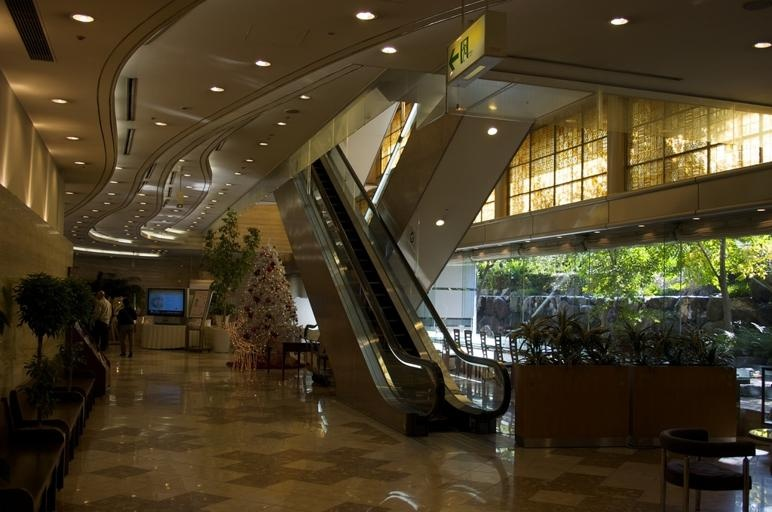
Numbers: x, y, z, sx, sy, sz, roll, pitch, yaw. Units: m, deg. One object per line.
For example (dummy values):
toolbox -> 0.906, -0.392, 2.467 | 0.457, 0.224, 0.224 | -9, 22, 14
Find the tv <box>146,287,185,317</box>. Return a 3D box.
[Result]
tv -> -9.083, 1.946, 21.971 | 2.053, 1.163, 0.463 | -3, -10, 27

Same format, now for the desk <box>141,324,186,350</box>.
desk -> -8.111, 2.913, 19.282 | 1.164, 0.596, 1.156 | 1, -3, 1
